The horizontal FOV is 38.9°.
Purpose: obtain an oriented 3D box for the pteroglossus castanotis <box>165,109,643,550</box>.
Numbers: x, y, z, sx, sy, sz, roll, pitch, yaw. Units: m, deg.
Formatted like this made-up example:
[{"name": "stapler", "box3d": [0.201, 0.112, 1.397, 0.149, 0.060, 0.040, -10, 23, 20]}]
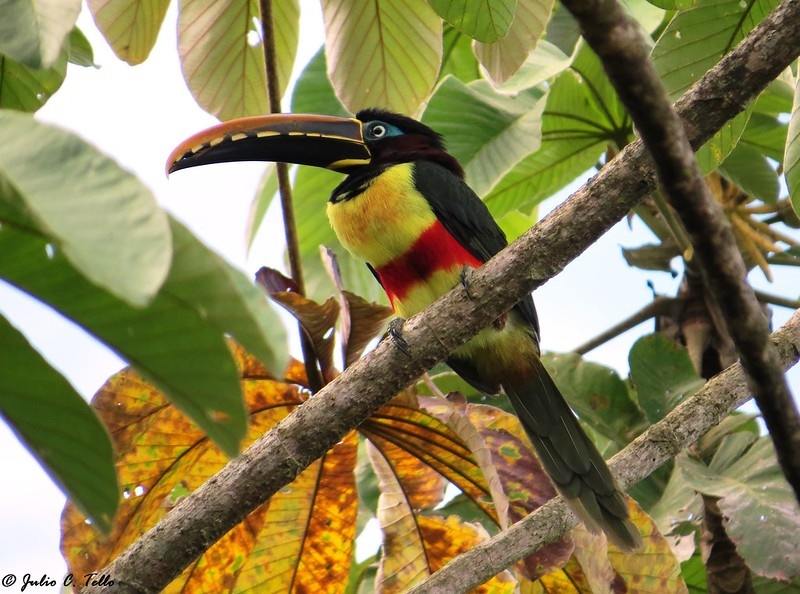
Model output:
[{"name": "pteroglossus castanotis", "box3d": [0.169, -0.104, 4.830, 2.442, 1.169, 0.538, 27, -34, -21]}]
